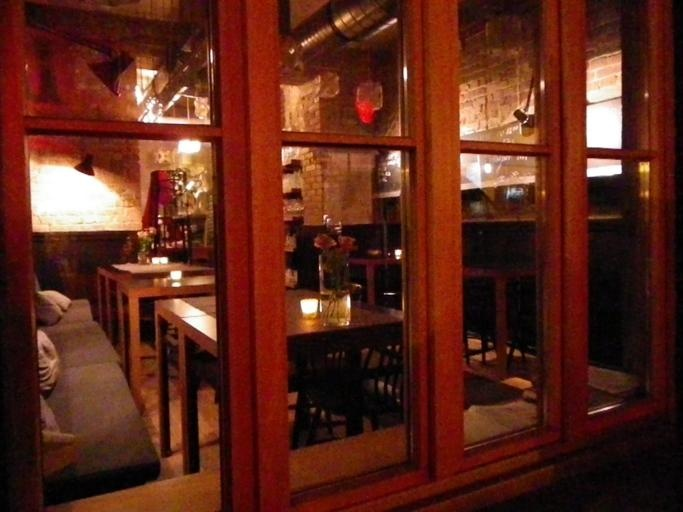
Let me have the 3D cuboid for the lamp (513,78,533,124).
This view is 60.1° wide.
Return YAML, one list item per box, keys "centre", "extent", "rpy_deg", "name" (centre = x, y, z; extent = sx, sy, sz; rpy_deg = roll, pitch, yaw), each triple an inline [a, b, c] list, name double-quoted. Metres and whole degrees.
- centre: [0.747, -0.634, 2.422]
  extent: [0.094, 0.200, 0.032]
  rpy_deg: [-5, 5, -19]
  name: "lamp"

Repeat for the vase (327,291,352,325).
- centre: [-0.021, 0.208, 2.696]
  extent: [0.122, 0.193, 0.121]
  rpy_deg: [0, 29, -6]
  name: "vase"

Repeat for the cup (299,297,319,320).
- centre: [-0.141, 0.235, 2.686]
  extent: [0.088, 0.100, 0.087]
  rpy_deg: [1, 1, 0]
  name: "cup"

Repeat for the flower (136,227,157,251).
- centre: [-0.668, -0.058, 2.039]
  extent: [0.068, 0.079, 0.069]
  rpy_deg: [-2, -6, 0]
  name: "flower"

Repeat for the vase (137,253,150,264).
- centre: [-0.677, 0.010, 2.035]
  extent: [0.042, 0.042, 0.030]
  rpy_deg: [1, -1, -35]
  name: "vase"
